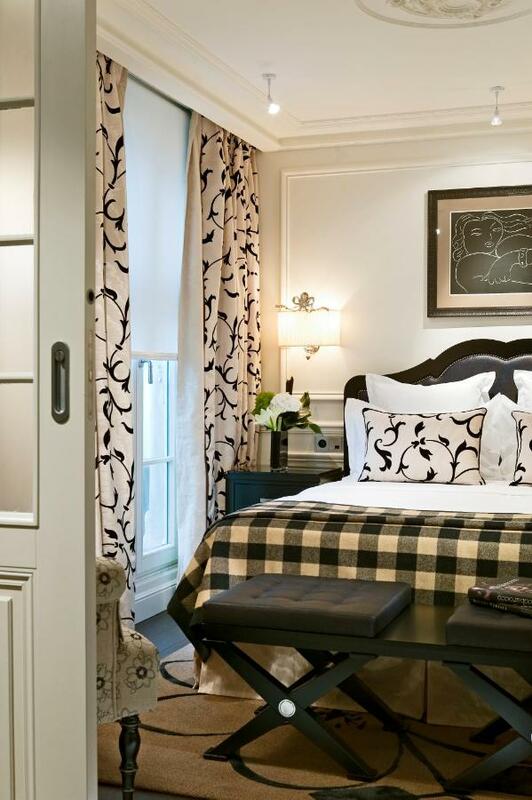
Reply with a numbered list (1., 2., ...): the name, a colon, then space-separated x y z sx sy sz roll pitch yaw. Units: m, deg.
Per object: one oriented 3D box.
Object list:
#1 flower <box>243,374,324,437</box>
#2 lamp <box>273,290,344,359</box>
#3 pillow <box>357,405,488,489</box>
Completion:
1. flower: 0.130 0.086 4.116 0.434 0.295 0.479 -7 6 44
2. lamp: 0.284 -0.525 4.519 0.397 0.556 0.302 -4 0 5
3. pillow: 0.834 0.263 3.509 0.652 0.437 0.148 -1 -19 19
